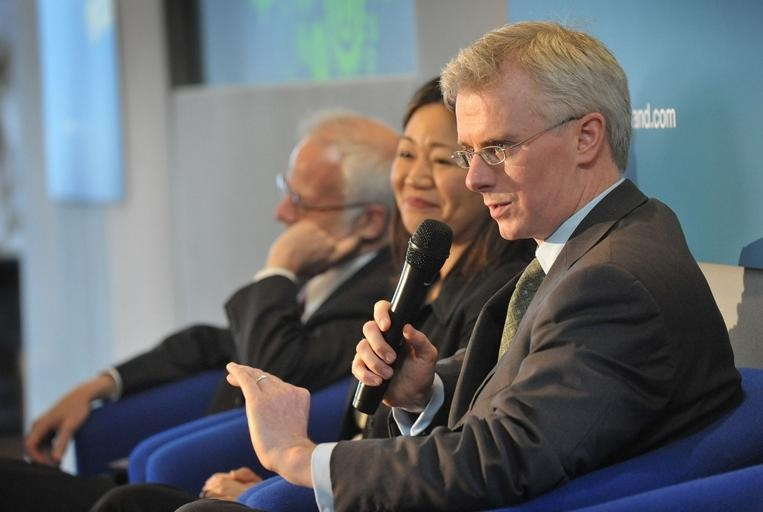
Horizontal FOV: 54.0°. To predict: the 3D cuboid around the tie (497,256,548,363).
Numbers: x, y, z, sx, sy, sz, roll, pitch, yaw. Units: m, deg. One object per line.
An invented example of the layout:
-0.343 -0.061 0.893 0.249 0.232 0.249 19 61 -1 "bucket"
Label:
0.407 0.142 2.195 0.087 0.413 0.067 35 -43 -29 "tie"
